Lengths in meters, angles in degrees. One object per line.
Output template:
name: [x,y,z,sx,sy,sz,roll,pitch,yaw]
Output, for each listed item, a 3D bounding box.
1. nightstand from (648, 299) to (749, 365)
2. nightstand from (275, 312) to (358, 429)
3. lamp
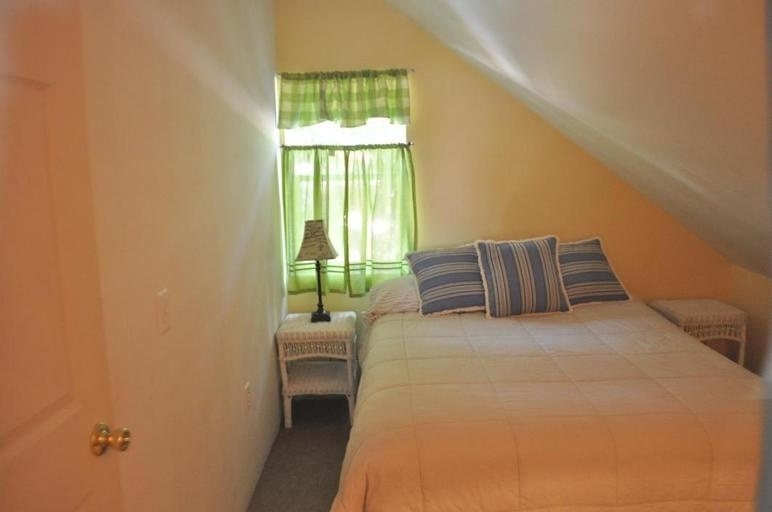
nightstand: [1.601,0.382,2.861,0.328,0.356,0.416,0,10,-1]
nightstand: [-0.419,0.663,3.435,0.480,0.602,0.522,0,10,6]
lamp: [-0.424,0.081,3.395,0.227,0.611,0.404,-4,3,-7]
